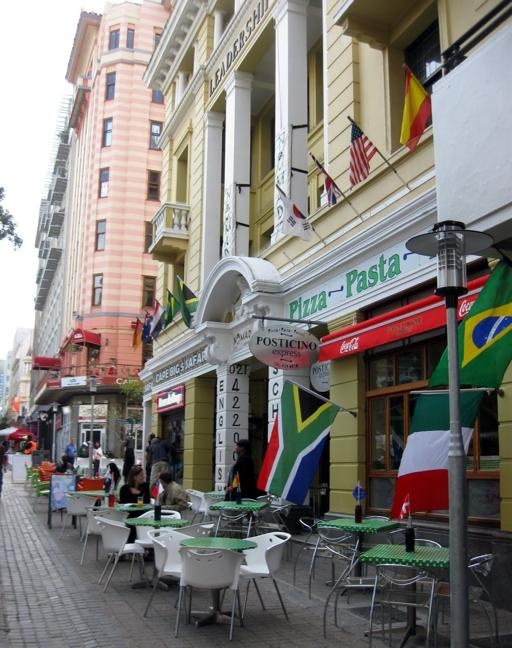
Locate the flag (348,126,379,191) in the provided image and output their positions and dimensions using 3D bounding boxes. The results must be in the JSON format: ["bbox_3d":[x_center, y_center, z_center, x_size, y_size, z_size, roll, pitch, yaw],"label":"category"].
[{"bbox_3d":[1.732,-2.831,10.157,0.390,0.920,1.050,1,-12,7],"label":"flag"}]

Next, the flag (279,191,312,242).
[{"bbox_3d":[0.656,-2.042,11.513,0.353,0.833,0.812,-8,-16,40],"label":"flag"}]

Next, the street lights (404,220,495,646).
[{"bbox_3d":[1.259,0.615,4.024,0.417,2.646,0.515,-6,-15,34],"label":"street lights"}]

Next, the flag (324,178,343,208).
[{"bbox_3d":[1.423,-2.452,11.481,0.318,0.487,0.519,1,-12,6],"label":"flag"}]
